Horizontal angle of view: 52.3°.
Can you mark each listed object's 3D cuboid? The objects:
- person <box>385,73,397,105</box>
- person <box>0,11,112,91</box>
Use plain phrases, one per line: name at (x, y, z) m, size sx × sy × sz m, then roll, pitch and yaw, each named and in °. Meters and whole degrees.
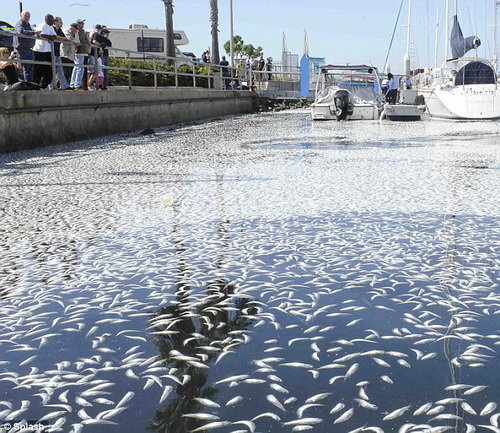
person at (6.387, -5.757, 22.907) m, size 0.518 × 1.314 × 1.246 m, roll 3°, pitch 14°, yaw 14°
person at (-4.809, -3.655, 11.318) m, size 1.044 × 1.593 × 2.115 m, roll -2°, pitch 14°, yaw -7°
